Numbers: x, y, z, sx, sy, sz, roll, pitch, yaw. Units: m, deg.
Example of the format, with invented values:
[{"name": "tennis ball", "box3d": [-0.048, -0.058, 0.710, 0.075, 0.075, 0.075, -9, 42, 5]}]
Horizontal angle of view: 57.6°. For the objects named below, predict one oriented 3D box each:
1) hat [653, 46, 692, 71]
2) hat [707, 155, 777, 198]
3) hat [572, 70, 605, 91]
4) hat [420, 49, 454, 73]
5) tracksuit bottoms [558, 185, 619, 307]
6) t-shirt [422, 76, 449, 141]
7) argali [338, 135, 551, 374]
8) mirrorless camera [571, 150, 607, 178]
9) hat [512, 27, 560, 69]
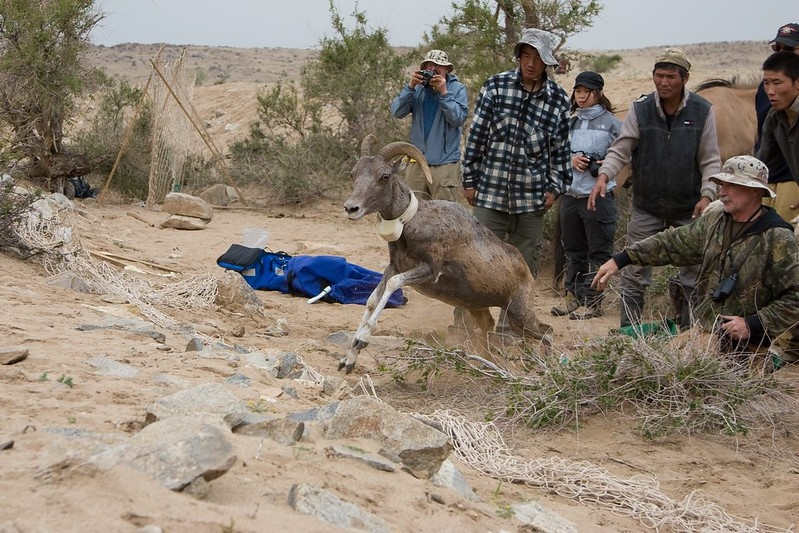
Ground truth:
[{"name": "hat", "box3d": [3.161, -2.389, 8.331, 0.330, 0.199, 0.410, 8, -11, 25]}, {"name": "hat", "box3d": [3.336, -0.919, 7.054, 0.665, 0.301, 0.536, 1, 19, -17]}, {"name": "hat", "box3d": [2.545, -2.474, 9.631, 0.269, 0.173, 0.362, 6, -7, 46]}, {"name": "hat", "box3d": [0.488, -2.674, 9.395, 0.378, 0.252, 0.401, 1, 11, -1]}, {"name": "tracksuit bottoms", "box3d": [2.521, -0.286, 9.991, 0.869, 1.561, 0.539, 5, 4, 38]}, {"name": "t-shirt", "box3d": [0.424, -2.048, 9.298, 0.299, 0.881, 0.414, 1, 12, 2]}, {"name": "argali", "box3d": [0.347, -0.183, 7.863, 2.291, 2.327, 0.757, -4, 13, -23]}, {"name": "mirrorless camera", "box3d": [2.574, -1.366, 9.666, 0.312, 0.317, 0.219, 7, 6, 31]}, {"name": "hat", "box3d": [1.547, -2.530, 8.308, 0.462, 0.485, 0.901, 2, 11, 7]}]
